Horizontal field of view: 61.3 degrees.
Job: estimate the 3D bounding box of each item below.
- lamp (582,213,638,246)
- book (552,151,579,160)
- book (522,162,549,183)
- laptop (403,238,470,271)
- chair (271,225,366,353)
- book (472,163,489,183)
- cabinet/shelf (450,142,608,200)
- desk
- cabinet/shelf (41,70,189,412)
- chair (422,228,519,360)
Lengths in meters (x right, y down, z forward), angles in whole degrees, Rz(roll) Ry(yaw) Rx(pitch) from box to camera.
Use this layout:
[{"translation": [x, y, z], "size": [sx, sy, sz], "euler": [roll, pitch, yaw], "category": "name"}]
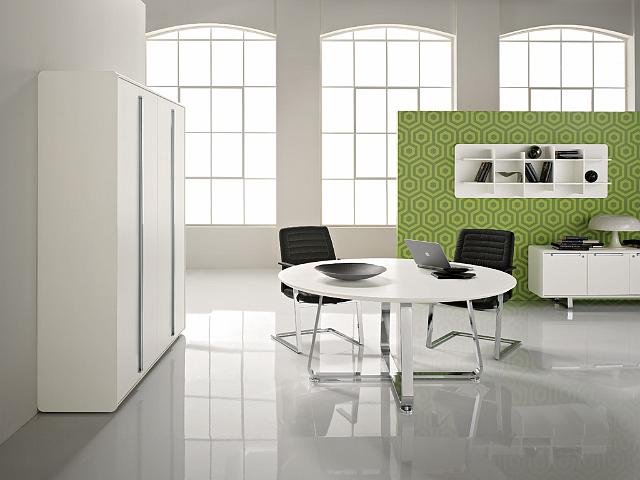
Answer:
[{"translation": [3.320, -0.083, 6.244], "size": [0.420, 0.304, 0.425], "euler": [0, -1, -6], "category": "lamp"}, {"translation": [2.897, -0.999, 6.384], "size": [0.301, 0.103, 0.084], "euler": [-2, 10, -11], "category": "book"}, {"translation": [2.555, -0.786, 6.407], "size": [0.262, 0.258, 0.062], "euler": [1, -4, 11], "category": "book"}, {"translation": [0.935, 0.102, 4.361], "size": [0.459, 0.237, 0.470], "euler": [-1, 7, 27], "category": "laptop"}, {"translation": [-0.033, 0.445, 5.219], "size": [0.646, 1.116, 0.665], "euler": [-4, 8, -27], "category": "chair"}, {"translation": [1.933, -0.805, 6.469], "size": [0.051, 0.228, 0.222], "euler": [10, 6, 34], "category": "book"}, {"translation": [2.513, -0.812, 6.451], "size": [1.819, 0.665, 0.402], "euler": [-2, 10, -8], "category": "cabinet/shelf"}, {"translation": [0.612, 0.505, 4.149], "size": [1.262, 0.640, 1.285], "euler": [-1, -2, -6], "category": "desk"}, {"translation": [-1.683, -0.106, 4.818], "size": [0.571, 2.339, 2.419], "euler": [2, 5, -3], "category": "cabinet/shelf"}, {"translation": [1.405, 0.465, 5.052], "size": [0.688, 1.108, 0.688], "euler": [4, 8, 38], "category": "chair"}]
